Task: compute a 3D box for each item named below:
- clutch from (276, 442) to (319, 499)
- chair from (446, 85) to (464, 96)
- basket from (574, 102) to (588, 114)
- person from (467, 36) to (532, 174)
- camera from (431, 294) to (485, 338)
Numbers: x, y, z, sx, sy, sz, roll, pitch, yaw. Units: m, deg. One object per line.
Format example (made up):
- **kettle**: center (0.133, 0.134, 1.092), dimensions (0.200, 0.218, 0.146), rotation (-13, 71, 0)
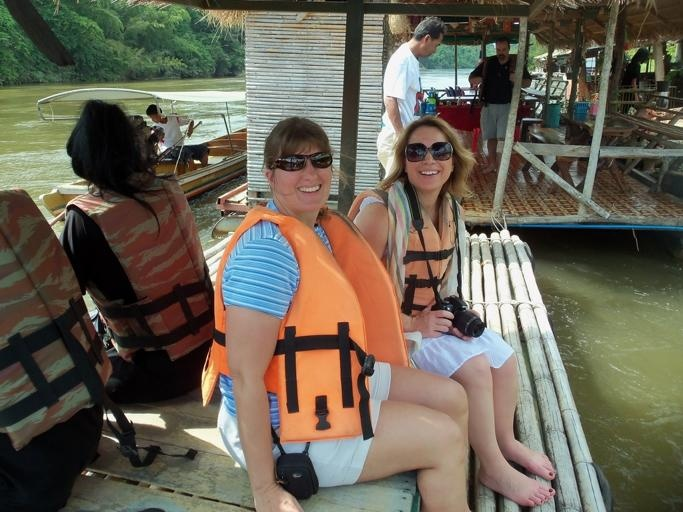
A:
- **clutch**: center (-0.209, 1.040, 2.078), dimensions (0.182, 0.321, 0.128), rotation (-1, 21, -2)
- **chair**: center (4.067, -6.013, 16.317), dimensions (0.614, 0.298, 1.564), rotation (4, 22, 12)
- **basket**: center (5.100, -3.192, 9.554), dimensions (0.291, 0.217, 0.308), rotation (6, 23, 17)
- **person**: center (2.998, -3.089, 8.845), dimensions (0.862, 2.782, 0.742), rotation (5, 15, 4)
- **camera**: center (0.775, 0.354, 2.876), dimensions (0.255, 0.258, 0.378), rotation (10, 13, 29)
